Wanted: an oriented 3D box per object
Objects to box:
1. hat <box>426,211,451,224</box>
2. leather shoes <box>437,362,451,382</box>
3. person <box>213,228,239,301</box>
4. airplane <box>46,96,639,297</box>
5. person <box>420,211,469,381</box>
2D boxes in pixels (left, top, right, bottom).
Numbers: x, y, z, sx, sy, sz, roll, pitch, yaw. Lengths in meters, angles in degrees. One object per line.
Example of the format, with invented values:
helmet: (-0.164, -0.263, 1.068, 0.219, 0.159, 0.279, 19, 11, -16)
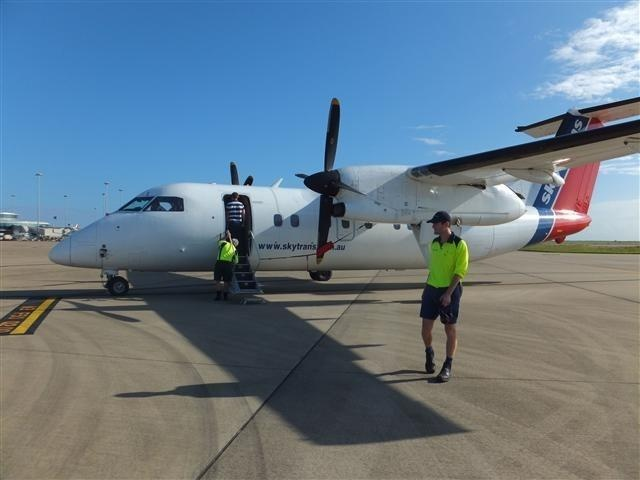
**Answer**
hat: (1.655, -0.300, 7.152, 0.369, 0.152, 0.217, 1, 2, 8)
leather shoes: (1.701, 1.757, 7.047, 0.144, 0.245, 0.424, 5, 8, 21)
person: (-2.158, 0.610, 11.947, 0.486, 1.617, 0.953, 1, 8, -9)
airplane: (1.151, -1.041, 13.627, 13.285, 5.136, 5.951, 2, 7, 2)
person: (1.650, 0.756, 7.036, 0.569, 2.238, 0.622, 0, 8, -15)
